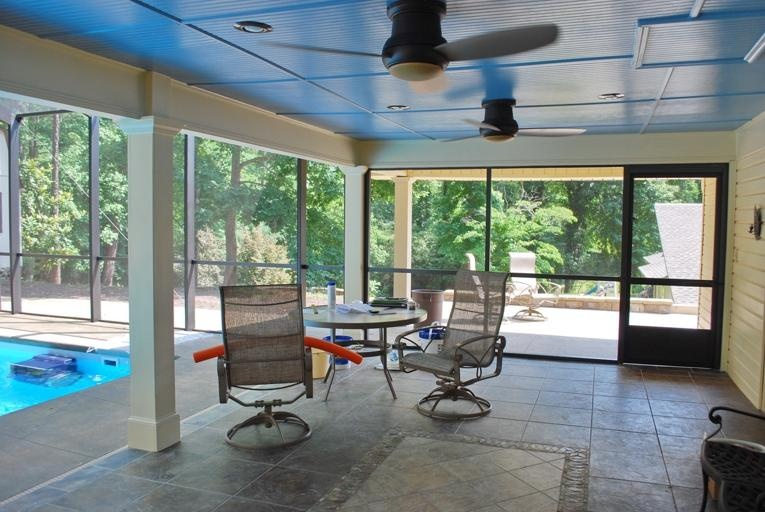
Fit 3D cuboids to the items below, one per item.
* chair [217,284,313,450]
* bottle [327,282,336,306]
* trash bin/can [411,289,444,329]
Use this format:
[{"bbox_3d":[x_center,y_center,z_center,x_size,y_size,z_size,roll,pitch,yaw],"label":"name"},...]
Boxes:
[{"bbox_3d":[-1.139,0.983,5.576,0.857,1.519,0.981,-3,12,-11],"label":"chair"},{"bbox_3d":[-0.595,0.437,6.746,0.089,0.244,0.274,-2,11,-8],"label":"bottle"},{"bbox_3d":[0.634,0.782,8.728,0.577,0.401,0.477,-1,-5,17],"label":"trash bin/can"}]
